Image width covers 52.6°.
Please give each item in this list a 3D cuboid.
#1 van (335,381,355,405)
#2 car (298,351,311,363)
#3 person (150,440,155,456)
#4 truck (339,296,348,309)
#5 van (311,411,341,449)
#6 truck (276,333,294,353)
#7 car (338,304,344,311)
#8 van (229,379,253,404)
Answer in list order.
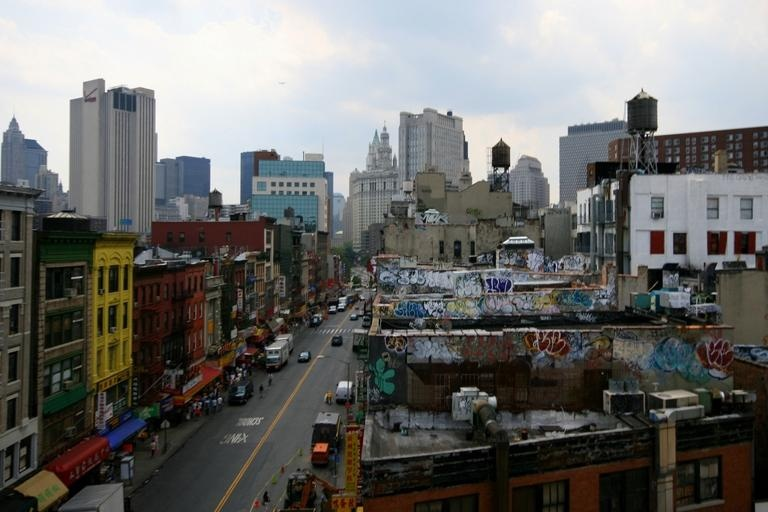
[{"bbox_3d":[-4.183,14.596,82.684,1.395,1.238,2.526,1,9,4],"label":"van"},{"bbox_3d":[-10.200,13.145,99.444,1.492,0.851,1.566,-2,9,-1],"label":"car"},{"bbox_3d":[-20.546,17.085,69.308,0.505,1.310,1.092,-4,9,-17],"label":"person"},{"bbox_3d":[-8.336,9.651,158.537,1.363,2.102,3.916,-1,-5,4],"label":"truck"},{"bbox_3d":[-5.407,16.377,71.385,2.681,2.750,4.637,7,9,2],"label":"van"},{"bbox_3d":[-13.199,11.466,102.319,1.608,1.752,3.059,0,9,2],"label":"truck"},{"bbox_3d":[-8.513,10.275,153.211,1.016,0.917,1.793,-1,-8,-1],"label":"car"},{"bbox_3d":[-15.376,14.736,83.011,1.617,1.782,3.126,0,9,12],"label":"van"}]
